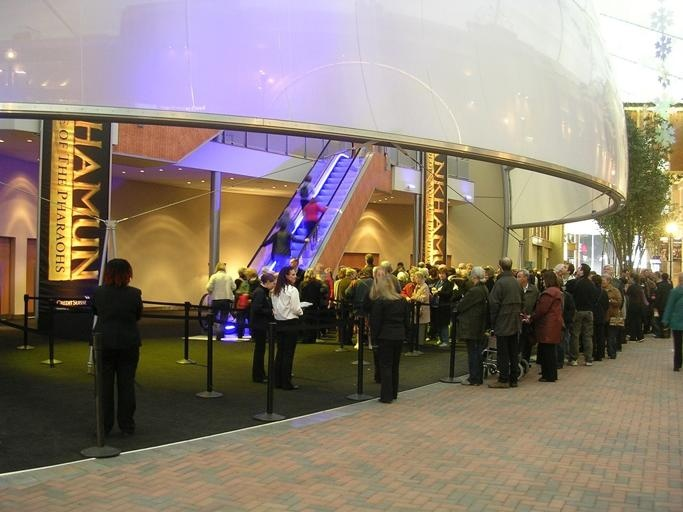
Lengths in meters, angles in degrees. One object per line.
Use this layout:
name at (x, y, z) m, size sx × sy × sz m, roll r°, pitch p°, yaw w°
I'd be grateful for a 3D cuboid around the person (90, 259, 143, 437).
person at (-2.676, 1.051, 6.899) m, size 0.579 × 2.054 × 1.042 m, roll 2°, pitch -3°, yaw -23°

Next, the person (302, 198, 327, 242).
person at (-0.941, -1.222, 19.201) m, size 0.756 × 1.488 × 1.576 m, roll 1°, pitch -2°, yaw 0°

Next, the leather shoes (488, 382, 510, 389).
leather shoes at (2.717, 2.222, 10.052) m, size 0.392 × 0.148 × 0.137 m, roll 3°, pitch -5°, yaw 0°

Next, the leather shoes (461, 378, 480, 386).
leather shoes at (2.263, 2.206, 10.173) m, size 0.323 × 0.130 × 0.117 m, roll 5°, pitch -3°, yaw 11°

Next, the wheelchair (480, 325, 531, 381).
wheelchair at (3.047, 1.842, 11.018) m, size 0.877 × 0.759 × 0.627 m, roll 5°, pitch 15°, yaw 22°
